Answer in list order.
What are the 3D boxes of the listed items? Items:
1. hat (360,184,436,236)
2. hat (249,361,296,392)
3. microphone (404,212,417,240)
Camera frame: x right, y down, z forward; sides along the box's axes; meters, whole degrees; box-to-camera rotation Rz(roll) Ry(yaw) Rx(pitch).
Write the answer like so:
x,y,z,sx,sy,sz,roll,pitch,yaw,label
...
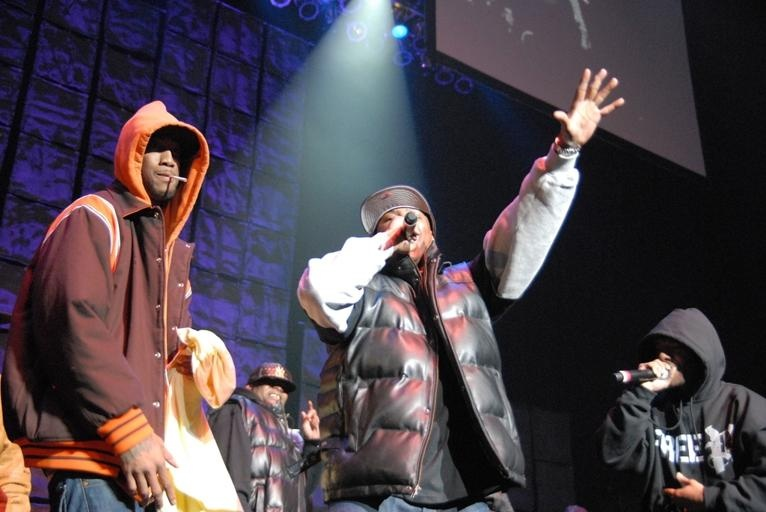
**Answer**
x,y,z,sx,sy,sz,roll,pitch,yaw,label
0.073,-0.256,4.114,0.375,0.296,0.226,0,-18,-1,hat
-0.890,0.924,6.152,0.310,0.158,0.221,-19,-33,36,hat
0.136,-0.154,3.869,0.060,0.127,0.101,-1,-18,2,microphone
